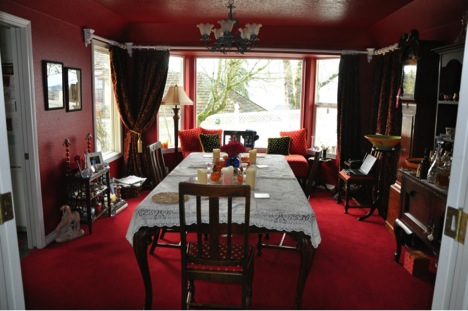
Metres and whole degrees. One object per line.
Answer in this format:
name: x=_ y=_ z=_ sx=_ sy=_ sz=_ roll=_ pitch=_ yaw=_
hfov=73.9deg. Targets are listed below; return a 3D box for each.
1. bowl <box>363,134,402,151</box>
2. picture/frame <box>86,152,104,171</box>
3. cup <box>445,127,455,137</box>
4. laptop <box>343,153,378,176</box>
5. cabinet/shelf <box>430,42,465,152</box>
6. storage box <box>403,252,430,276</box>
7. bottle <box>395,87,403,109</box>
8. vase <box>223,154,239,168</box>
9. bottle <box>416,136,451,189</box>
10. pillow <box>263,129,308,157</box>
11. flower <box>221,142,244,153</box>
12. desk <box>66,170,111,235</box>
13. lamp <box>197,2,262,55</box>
bowl: x=2.198 y=-0.193 z=4.602 sx=0.447 sy=0.202 sz=0.426 roll=0 pitch=9 yaw=0
picture/frame: x=-2.011 y=0.077 z=4.475 sx=0.075 sy=0.252 sz=0.256 roll=2 pitch=2 yaw=27
cup: x=2.200 y=-0.229 z=3.158 sx=0.067 sy=0.095 sz=0.087 roll=4 pitch=10 yaw=27
laptop: x=2.088 y=0.184 z=5.076 sx=0.380 sy=0.247 sz=0.393 roll=-2 pitch=8 yaw=1
cabinet/shelf: x=2.206 y=-0.604 z=3.268 sx=0.256 sy=1.041 sz=0.448 roll=6 pitch=11 yaw=34
storage box: x=2.054 y=1.186 z=3.560 sx=0.238 sy=0.249 sz=0.246 roll=1 pitch=7 yaw=10
bottle: x=2.276 y=-0.783 z=4.274 sx=0.074 sy=0.272 sz=0.559 roll=4 pitch=10 yaw=27
vase: x=-0.020 y=0.066 z=3.669 sx=0.153 sy=0.152 sz=0.156 roll=1 pitch=-3 yaw=0
bottle: x=2.095 y=0.041 z=3.247 sx=0.290 sy=0.466 sz=0.586 roll=6 pitch=11 yaw=34
pillow: x=1.092 y=-0.251 z=6.366 sx=0.578 sy=0.580 sz=0.225 roll=2 pitch=-5 yaw=27
flower: x=-0.016 y=-0.089 z=3.705 sx=0.182 sy=0.128 sz=0.186 roll=0 pitch=6 yaw=0
desk: x=-2.049 y=0.652 z=4.321 sx=0.295 sy=0.689 sz=0.719 roll=-1 pitch=12 yaw=-3
lamp: x=-0.061 y=-1.903 z=4.584 sx=1.001 sy=0.835 sz=1.018 roll=0 pitch=14 yaw=-1
